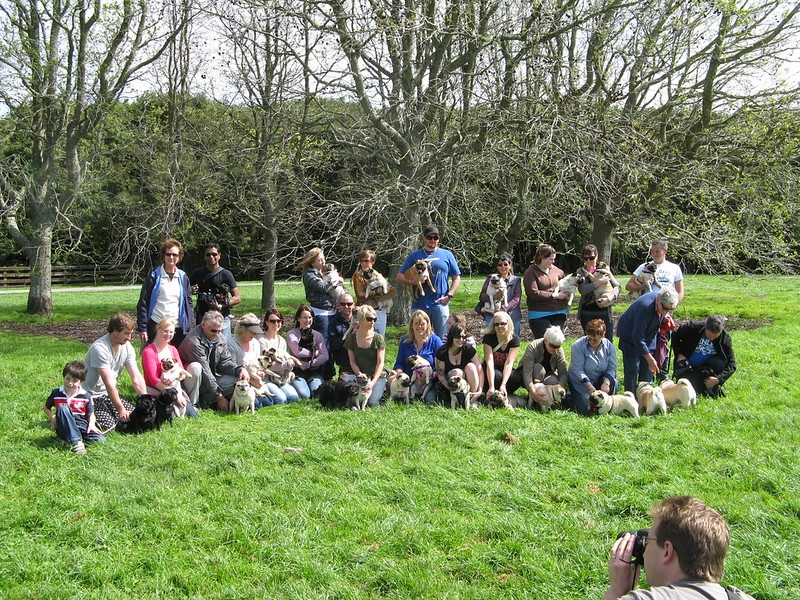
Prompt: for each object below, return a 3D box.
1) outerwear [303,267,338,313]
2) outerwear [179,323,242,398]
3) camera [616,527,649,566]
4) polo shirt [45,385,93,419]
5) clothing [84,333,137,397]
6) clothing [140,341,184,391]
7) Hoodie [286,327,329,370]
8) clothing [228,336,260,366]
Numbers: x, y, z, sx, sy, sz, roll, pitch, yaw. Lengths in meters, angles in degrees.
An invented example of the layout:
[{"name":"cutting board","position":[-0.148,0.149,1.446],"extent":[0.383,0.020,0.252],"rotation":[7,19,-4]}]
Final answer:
[{"name":"outerwear","position":[-1.301,-0.214,12.553],"extent":[0.467,0.739,0.582],"rotation":[7,-3,-38]},{"name":"outerwear","position":[-2.655,0.880,11.257],"extent":[0.979,0.978,0.686],"rotation":[10,6,27]},{"name":"camera","position":[1.918,2.005,6.547],"extent":[0.228,0.257,0.146],"rotation":[5,-8,24]},{"name":"polo shirt","position":[-4.026,1.242,9.780],"extent":[0.647,0.531,0.350],"rotation":[2,-6,-13]},{"name":"clothing","position":[-3.686,0.828,10.146],"extent":[0.339,0.785,0.575],"rotation":[2,0,36]},{"name":"clothing","position":[-3.241,0.875,10.864],"extent":[0.456,0.685,0.315],"rotation":[-2,-6,-1]},{"name":"Hoodie","position":[-1.402,0.741,11.966],"extent":[0.483,0.646,0.633],"rotation":[2,3,-10]},{"name":"clothing","position":[-2.260,0.743,11.517],"extent":[0.214,0.387,0.388],"rotation":[-8,-5,42]}]
